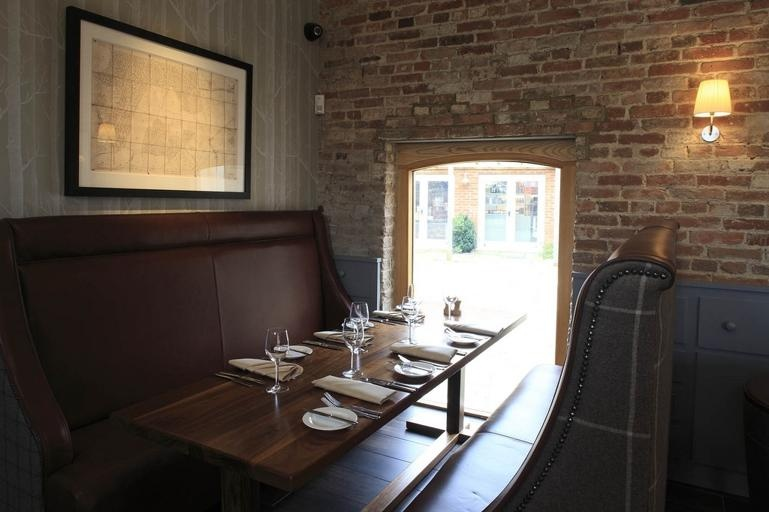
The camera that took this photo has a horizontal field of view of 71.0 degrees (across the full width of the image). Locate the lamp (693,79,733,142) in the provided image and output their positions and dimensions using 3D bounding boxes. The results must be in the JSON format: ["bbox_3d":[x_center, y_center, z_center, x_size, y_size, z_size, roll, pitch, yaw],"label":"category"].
[{"bbox_3d":[2.263,-0.997,3.715,0.226,0.388,0.226,6,10,34],"label":"lamp"}]

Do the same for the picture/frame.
[{"bbox_3d":[-1.610,-1.071,3.739,0.077,1.167,1.683,1,-1,33],"label":"picture/frame"}]

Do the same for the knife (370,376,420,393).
[{"bbox_3d":[0.045,0.671,2.805,0.289,0.022,0.082,0,14,30],"label":"knife"}]

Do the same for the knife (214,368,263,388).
[{"bbox_3d":[-0.772,0.652,2.868,0.349,0.009,0.093,3,9,36],"label":"knife"}]
